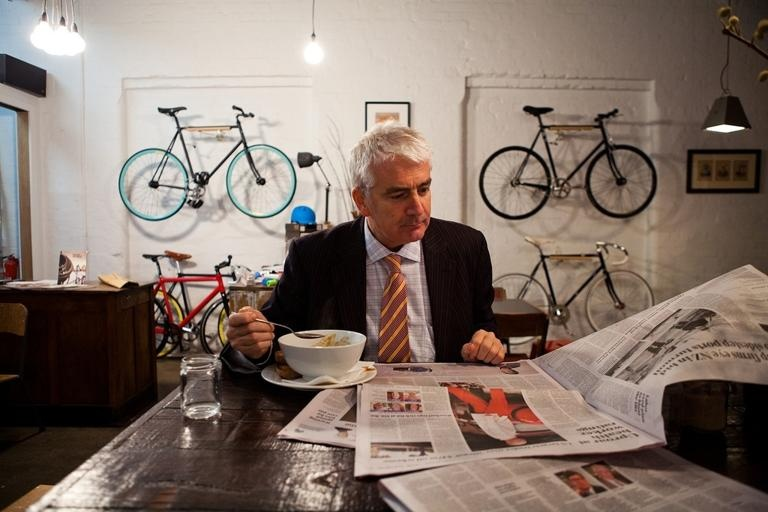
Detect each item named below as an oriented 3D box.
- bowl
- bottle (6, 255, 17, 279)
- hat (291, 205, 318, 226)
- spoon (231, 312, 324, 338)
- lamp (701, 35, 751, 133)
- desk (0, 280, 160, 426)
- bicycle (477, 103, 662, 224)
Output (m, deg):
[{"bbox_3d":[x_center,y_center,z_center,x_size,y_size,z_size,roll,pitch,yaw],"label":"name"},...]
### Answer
[{"bbox_3d":[-0.271,0.509,3.191,0.353,0.155,0.356,2,-9,0],"label":"bowl"},{"bbox_3d":[-3.993,0.103,6.340,0.133,0.236,0.302,-4,5,-31],"label":"bottle"},{"bbox_3d":[-0.839,-0.425,6.162,0.230,0.138,0.228,-4,9,-43],"label":"hat"},{"bbox_3d":[-0.606,0.383,3.315,0.321,0.041,0.056,18,-34,-4],"label":"spoon"},{"bbox_3d":[3.517,-1.820,6.086,0.400,1.060,0.942,2,5,28],"label":"lamp"},{"bbox_3d":[-2.549,0.794,5.393,1.449,1.302,1.057,0,3,1],"label":"desk"},{"bbox_3d":[2.023,-1.013,6.461,1.947,1.221,0.403,-2,5,-11],"label":"bicycle"}]
